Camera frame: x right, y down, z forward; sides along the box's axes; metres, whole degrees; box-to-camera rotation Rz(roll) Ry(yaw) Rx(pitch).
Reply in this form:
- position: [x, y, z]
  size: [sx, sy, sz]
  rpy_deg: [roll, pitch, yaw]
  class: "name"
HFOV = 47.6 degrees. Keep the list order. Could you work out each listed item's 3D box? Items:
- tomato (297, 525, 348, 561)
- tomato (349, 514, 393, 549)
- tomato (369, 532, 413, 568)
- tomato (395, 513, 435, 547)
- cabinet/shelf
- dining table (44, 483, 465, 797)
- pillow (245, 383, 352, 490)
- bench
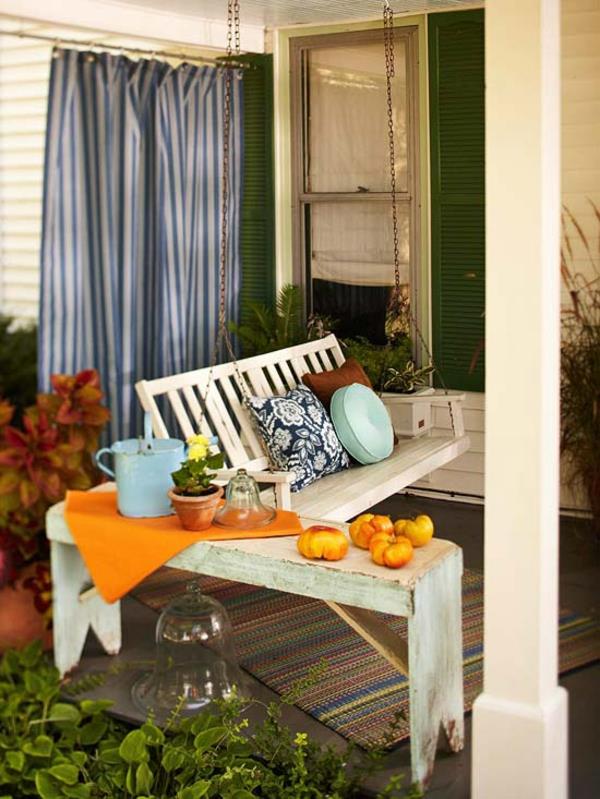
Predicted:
- position: [0.052, 0.333, 1.614]
  size: [0.086, 0.060, 0.087]
  rpy_deg: [1, -5, 1]
  class: "tomato"
- position: [0.184, 0.308, 1.658]
  size: [0.096, 0.073, 0.087]
  rpy_deg: [-13, -2, -29]
  class: "tomato"
- position: [0.204, 0.347, 1.539]
  size: [0.101, 0.067, 0.090]
  rpy_deg: [2, 7, 20]
  class: "tomato"
- position: [0.289, 0.315, 1.679]
  size: [0.087, 0.088, 0.084]
  rpy_deg: [-7, -10, -13]
  class: "tomato"
- position: [0.622, 0.197, 3.909]
  size: [0.452, 0.322, 0.247]
  rpy_deg: [1, 5, 29]
  class: "cabinet/shelf"
- position: [0.003, 0.607, 2.226]
  size: [1.326, 0.632, 1.152]
  rpy_deg: [4, 8, 33]
  class: "dining table"
- position: [-0.044, 0.165, 3.077]
  size: [0.128, 0.409, 0.435]
  rpy_deg: [-35, -12, 37]
  class: "pillow"
- position: [0.023, 0.104, 3.151]
  size: [0.518, 0.488, 1.026]
  rpy_deg: [7, 15, 37]
  class: "bench"
